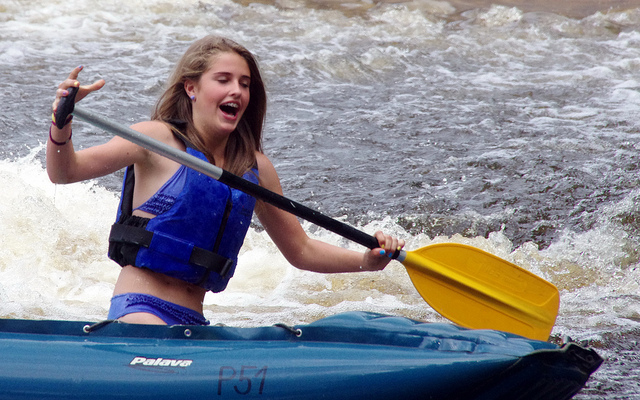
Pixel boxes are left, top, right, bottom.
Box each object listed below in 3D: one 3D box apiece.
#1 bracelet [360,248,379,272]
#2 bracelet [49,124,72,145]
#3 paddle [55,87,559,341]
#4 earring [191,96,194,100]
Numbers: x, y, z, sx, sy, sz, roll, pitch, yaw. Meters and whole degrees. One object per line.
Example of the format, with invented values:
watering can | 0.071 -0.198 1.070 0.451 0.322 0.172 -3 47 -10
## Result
bracelet | 0.339 0.403 6.185 0.101 0.170 0.083 15 28 2
bracelet | -1.618 -0.394 5.766 0.132 0.083 0.093 4 27 -15
paddle | 0.023 0.124 6.170 3.650 0.475 0.537 25 64 -14
earring | -0.824 -0.659 6.006 0.020 0.021 0.009 11 28 -3
